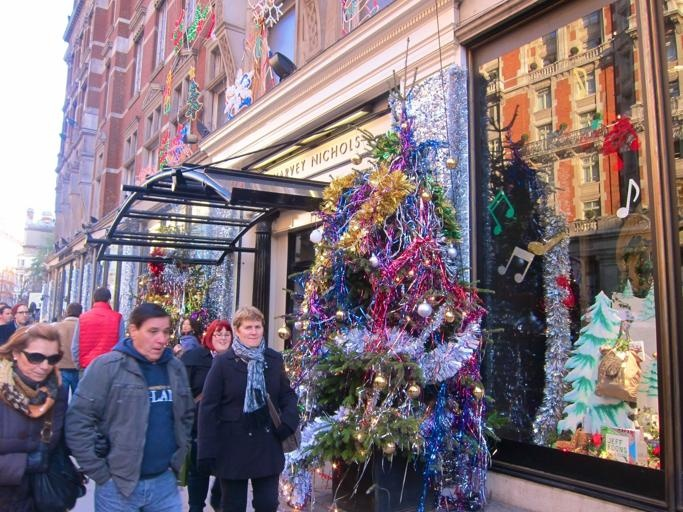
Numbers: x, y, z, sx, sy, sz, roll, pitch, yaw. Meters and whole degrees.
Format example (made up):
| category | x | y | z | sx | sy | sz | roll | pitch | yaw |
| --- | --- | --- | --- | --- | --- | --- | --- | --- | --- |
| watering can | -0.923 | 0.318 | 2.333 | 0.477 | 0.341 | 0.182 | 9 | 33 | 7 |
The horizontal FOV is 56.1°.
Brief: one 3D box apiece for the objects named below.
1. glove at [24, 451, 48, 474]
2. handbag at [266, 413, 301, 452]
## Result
| category | x | y | z | sx | sy | sz | roll | pitch | yaw |
| --- | --- | --- | --- | --- | --- | --- | --- | --- | --- |
| glove | -2.360 | 1.596 | 4.953 | 0.142 | 0.161 | 0.058 | 16 | -9 | -38 |
| handbag | -0.537 | 1.725 | 5.957 | 0.264 | 0.562 | 0.401 | -3 | 0 | -3 |
